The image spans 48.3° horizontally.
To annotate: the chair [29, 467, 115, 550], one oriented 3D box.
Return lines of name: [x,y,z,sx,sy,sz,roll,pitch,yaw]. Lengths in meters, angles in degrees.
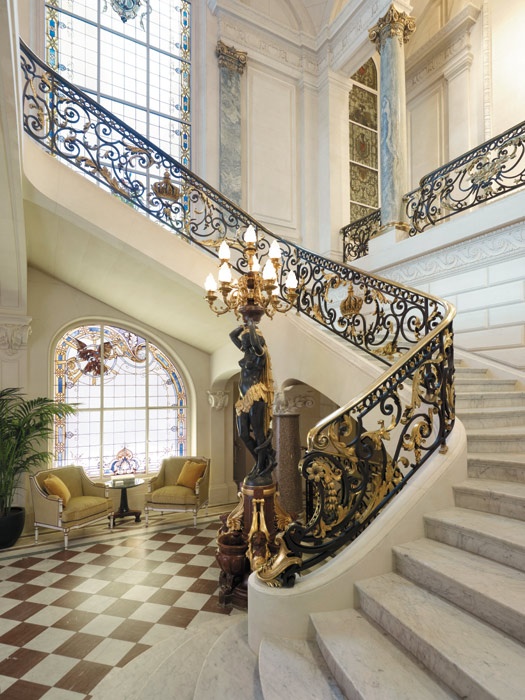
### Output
chair: [-2.164,1.757,6.750,0.609,0.768,0.812,-4,-2,25]

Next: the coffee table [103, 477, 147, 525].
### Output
coffee table: [-1.802,1.968,7.657,0.510,0.559,0.508,0,-11,-25]

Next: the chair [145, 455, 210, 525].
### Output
chair: [-1.066,1.772,7.512,0.833,0.878,0.843,10,-12,-27]

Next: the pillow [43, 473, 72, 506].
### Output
pillow: [-2.267,1.524,6.496,0.241,0.373,0.423,-12,32,-15]

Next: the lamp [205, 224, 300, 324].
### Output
lamp: [-0.085,-0.621,4.863,0.762,0.937,0.724,-1,0,-31]

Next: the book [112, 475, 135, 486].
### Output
book: [-1.753,1.662,7.408,0.201,0.053,0.192,1,2,-9]
